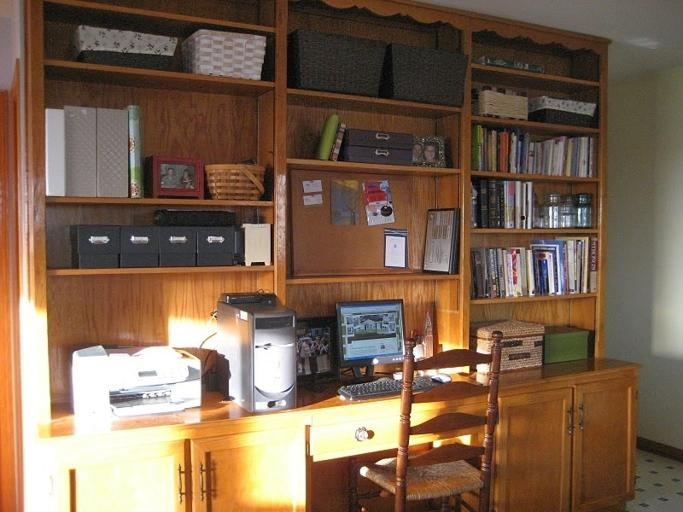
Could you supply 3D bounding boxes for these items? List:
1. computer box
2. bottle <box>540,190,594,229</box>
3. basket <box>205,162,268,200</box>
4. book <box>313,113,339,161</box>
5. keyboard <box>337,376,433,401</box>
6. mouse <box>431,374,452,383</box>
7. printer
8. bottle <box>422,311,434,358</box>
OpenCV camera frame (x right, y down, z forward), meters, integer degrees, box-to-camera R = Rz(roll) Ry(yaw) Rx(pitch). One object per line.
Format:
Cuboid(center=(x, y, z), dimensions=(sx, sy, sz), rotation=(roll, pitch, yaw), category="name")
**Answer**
Cuboid(center=(-0.437, 0.489, 3.117), dimensions=(0.277, 0.545, 0.419), rotation=(-5, 1, -27), category="computer box")
Cuboid(center=(1.529, -0.299, 4.169), dimensions=(0.501, 0.274, 0.229), rotation=(0, -1, -8), category="bottle")
Cuboid(center=(-0.564, -0.394, 3.177), dimensions=(0.258, 0.122, 0.232), rotation=(0, 2, -7), category="basket")
Cuboid(center=(-0.103, -0.677, 3.432), dimensions=(0.061, 0.222, 0.230), rotation=(13, 23, -11), category="book")
Cuboid(center=(0.266, 0.726, 3.332), dimensions=(0.584, 0.090, 0.233), rotation=(-3, 1, -16), category="keyboard")
Cuboid(center=(0.579, 0.709, 3.466), dimensions=(0.092, 0.024, 0.090), rotation=(1, 6, -33), category="mouse")
Cuboid(center=(-0.997, 0.614, 2.903), dimensions=(0.556, 0.280, 0.382), rotation=(2, -4, -31), category="printer")
Cuboid(center=(0.559, 0.510, 3.833), dimensions=(0.102, 0.265, 0.092), rotation=(1, -4, -21), category="bottle")
